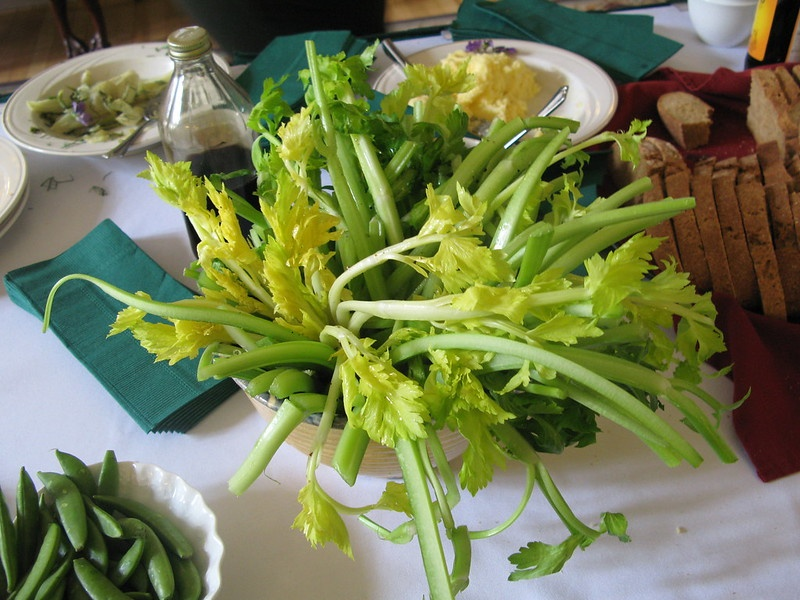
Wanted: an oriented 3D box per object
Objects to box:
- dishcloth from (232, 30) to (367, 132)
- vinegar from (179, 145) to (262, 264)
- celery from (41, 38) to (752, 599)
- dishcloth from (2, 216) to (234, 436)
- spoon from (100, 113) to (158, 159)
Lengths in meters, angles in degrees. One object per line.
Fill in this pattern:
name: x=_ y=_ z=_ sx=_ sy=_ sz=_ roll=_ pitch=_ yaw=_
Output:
dishcloth: x=-0.159 y=-0.374 z=1.236 sx=0.271 sy=0.090 sz=0.269 roll=-4 pitch=42 yaw=19
vinegar: x=-0.242 y=-0.122 z=0.876 sx=0.051 sy=0.080 sz=0.051 roll=10 pitch=24 yaw=-37
celery: x=0.011 y=0.068 z=0.742 sx=0.613 sy=0.248 sz=0.525 roll=6 pitch=61 yaw=-17
dishcloth: x=-0.356 y=0.045 z=0.869 sx=0.312 sy=0.064 sz=0.195 roll=42 pitch=64 yaw=18
spoon: x=-0.424 y=-0.263 z=1.060 sx=0.041 sy=0.011 sz=0.127 roll=5 pitch=37 yaw=15
